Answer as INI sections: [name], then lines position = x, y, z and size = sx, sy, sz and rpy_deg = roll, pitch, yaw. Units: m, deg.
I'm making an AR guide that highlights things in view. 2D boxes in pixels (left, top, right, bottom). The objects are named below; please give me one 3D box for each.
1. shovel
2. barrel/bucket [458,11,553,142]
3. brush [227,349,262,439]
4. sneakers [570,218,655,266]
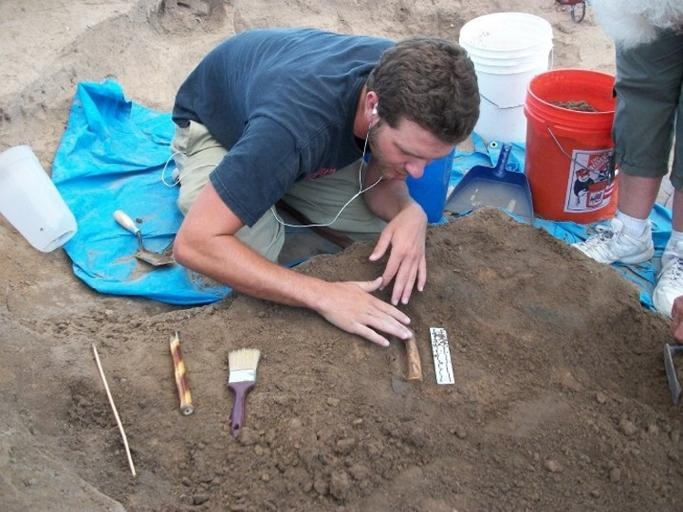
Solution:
[shovel]
position = -1.253, -0.096, 4.928
size = 0.367, 0.380, 0.451
rpy_deg = -1, 34, -6
[barrel/bucket]
position = 1.269, -1.359, 5.859
size = 0.675, 1.039, 0.673
rpy_deg = 4, 41, -3
[brush]
position = -0.492, 0.681, 3.862
size = 0.154, 0.137, 0.420
rpy_deg = -6, 45, 3
[sneakers]
position = 1.685, -0.018, 4.871
size = 0.620, 0.304, 0.247
rpy_deg = -5, 60, 12
